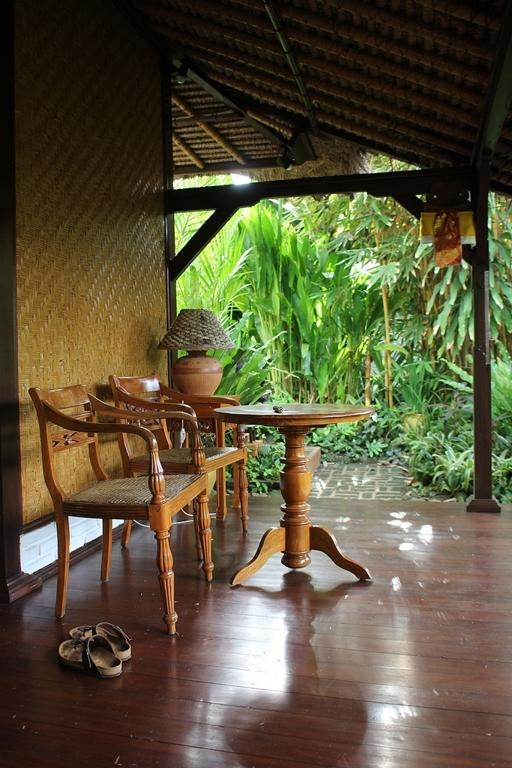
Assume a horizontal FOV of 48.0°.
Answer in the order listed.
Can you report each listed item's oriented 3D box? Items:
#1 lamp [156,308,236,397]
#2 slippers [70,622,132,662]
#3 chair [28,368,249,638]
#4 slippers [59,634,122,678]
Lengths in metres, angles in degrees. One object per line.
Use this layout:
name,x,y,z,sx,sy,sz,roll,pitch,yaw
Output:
lamp,-0.418,-0.232,3.999,0.543,0.610,0.558,-4,6,-23
slippers,-0.494,0.831,1.886,0.165,0.056,0.100,10,0,28
chair,-0.558,0.417,2.654,0.806,1.212,0.903,-1,0,15
slippers,-0.505,0.862,1.768,0.164,0.067,0.103,12,0,25
